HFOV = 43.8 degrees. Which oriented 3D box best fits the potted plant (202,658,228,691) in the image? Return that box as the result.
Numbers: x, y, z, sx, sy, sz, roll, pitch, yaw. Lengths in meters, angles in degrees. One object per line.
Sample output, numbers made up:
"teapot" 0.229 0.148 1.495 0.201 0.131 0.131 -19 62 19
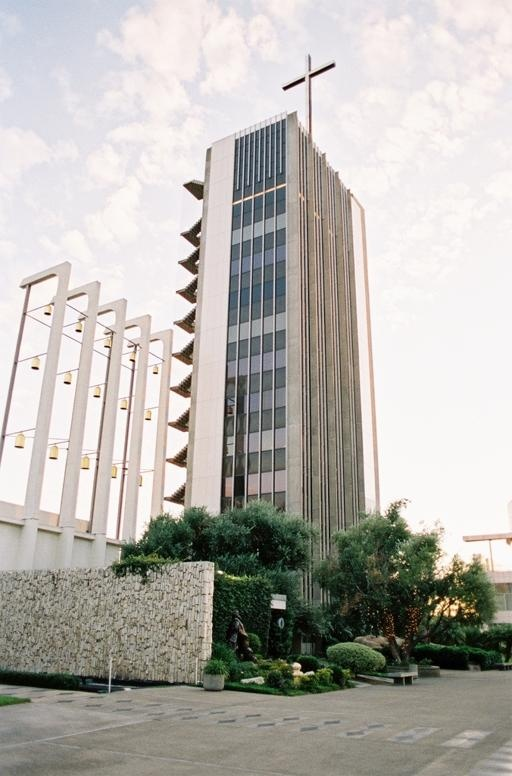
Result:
"potted plant" -1.059 7.363 16.389 0.680 0.713 0.714 1 -11 12
